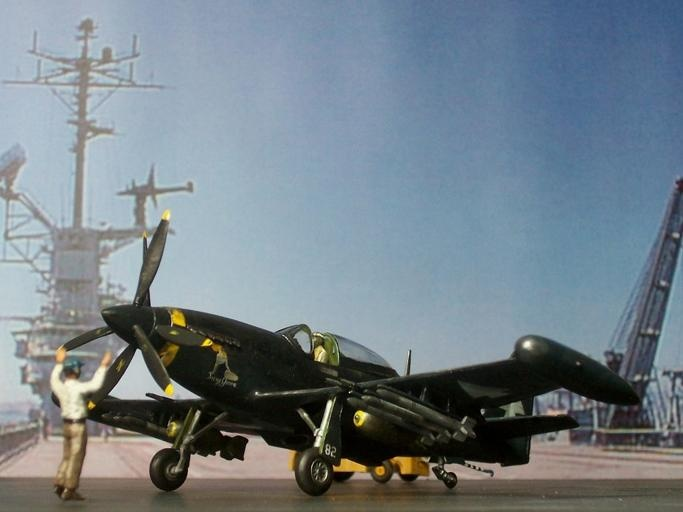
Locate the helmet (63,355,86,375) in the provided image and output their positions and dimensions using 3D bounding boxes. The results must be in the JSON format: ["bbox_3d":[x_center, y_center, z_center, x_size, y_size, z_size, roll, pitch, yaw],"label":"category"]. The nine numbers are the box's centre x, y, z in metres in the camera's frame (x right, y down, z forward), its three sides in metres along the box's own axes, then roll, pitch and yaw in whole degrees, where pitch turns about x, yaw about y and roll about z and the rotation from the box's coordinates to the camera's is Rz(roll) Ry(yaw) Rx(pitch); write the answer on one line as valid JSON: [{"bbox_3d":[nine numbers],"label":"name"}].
[{"bbox_3d":[-8.293,3.429,30.170,0.488,0.554,0.599,6,30,8],"label":"helmet"}]
